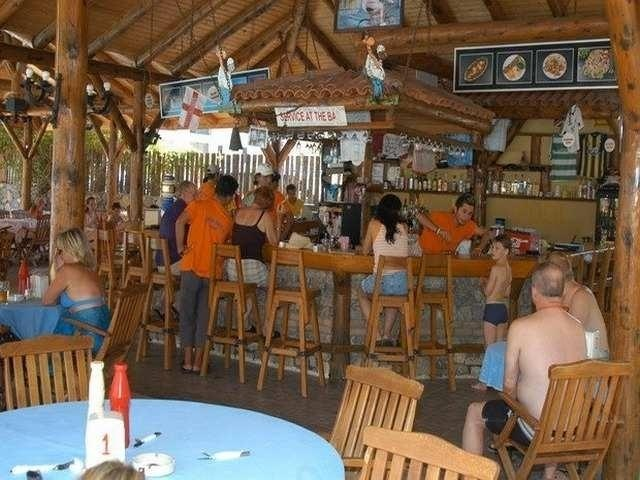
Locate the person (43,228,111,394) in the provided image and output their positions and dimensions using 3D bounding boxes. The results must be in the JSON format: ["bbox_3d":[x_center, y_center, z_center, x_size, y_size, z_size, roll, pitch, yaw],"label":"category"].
[{"bbox_3d":[-2.262,0.604,5.523,0.669,1.443,0.476,19,22,23],"label":"person"}]

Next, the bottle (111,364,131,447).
[{"bbox_3d":[-1.004,0.808,3.017,0.089,0.440,0.209,0,5,-17],"label":"bottle"}]

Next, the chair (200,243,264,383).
[{"bbox_3d":[-0.987,0.798,7.040,0.617,1.572,0.654,3,2,32],"label":"chair"}]

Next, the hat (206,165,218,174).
[{"bbox_3d":[-1.549,-1.003,8.684,0.166,0.133,0.364,1,5,-9],"label":"hat"}]

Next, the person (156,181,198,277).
[{"bbox_3d":[-1.795,-0.098,7.675,0.521,1.276,0.544,4,5,22],"label":"person"}]

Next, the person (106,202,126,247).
[{"bbox_3d":[-3.830,-0.249,11.533,0.482,0.912,0.560,0,8,-12],"label":"person"}]

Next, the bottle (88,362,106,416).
[{"bbox_3d":[-1.088,0.710,2.914,0.065,0.222,0.111,0,5,-16],"label":"bottle"}]

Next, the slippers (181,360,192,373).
[{"bbox_3d":[-1.606,1.506,7.197,0.067,0.091,0.208,1,5,-8],"label":"slippers"}]

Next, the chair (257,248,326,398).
[{"bbox_3d":[-0.305,0.855,6.894,0.750,1.551,1.161,2,5,0],"label":"chair"}]

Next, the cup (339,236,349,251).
[{"bbox_3d":[0.297,0.053,7.330,0.113,0.222,0.211,1,0,-4],"label":"cup"}]

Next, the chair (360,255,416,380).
[{"bbox_3d":[0.791,0.868,6.786,0.575,1.422,0.711,2,5,6],"label":"chair"}]

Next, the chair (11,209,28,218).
[{"bbox_3d":[-8.281,-0.705,16.541,0.348,0.292,0.282,7,6,43],"label":"chair"}]

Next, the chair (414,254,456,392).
[{"bbox_3d":[1.357,0.919,6.994,0.500,1.561,0.878,3,5,13],"label":"chair"}]

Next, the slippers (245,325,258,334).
[{"bbox_3d":[-0.873,1.125,7.593,0.137,0.117,0.150,-1,0,-25],"label":"slippers"}]
